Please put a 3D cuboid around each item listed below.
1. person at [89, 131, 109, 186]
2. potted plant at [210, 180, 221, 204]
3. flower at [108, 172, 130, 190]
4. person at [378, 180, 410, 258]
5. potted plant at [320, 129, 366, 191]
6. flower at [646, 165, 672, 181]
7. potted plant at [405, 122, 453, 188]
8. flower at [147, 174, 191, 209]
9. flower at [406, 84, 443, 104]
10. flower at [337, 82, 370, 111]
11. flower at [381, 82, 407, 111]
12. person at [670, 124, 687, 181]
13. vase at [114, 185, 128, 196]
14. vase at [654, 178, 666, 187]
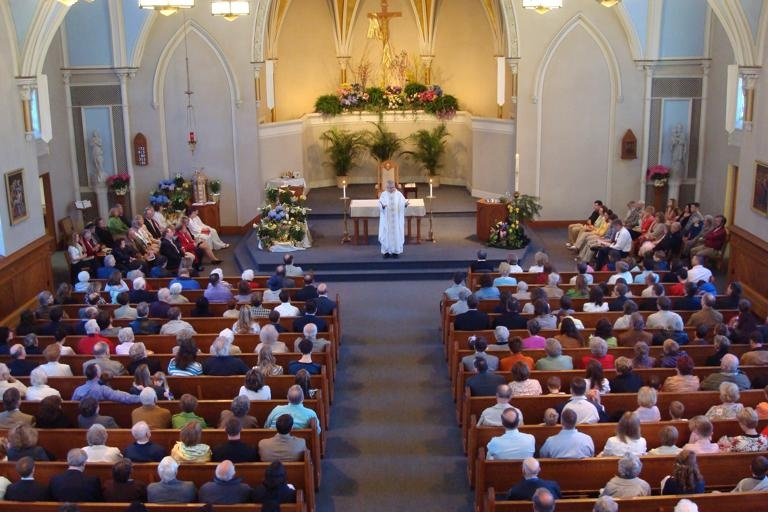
[{"bbox_3d":[-7.777,-2.598,18.937,0.378,1.512,0.237,-5,10,-20],"label":"person"},{"bbox_3d":[-4.679,-1.787,19.448,0.345,0.619,0.333,-6,10,-26],"label":"potted plant"},{"bbox_3d":[-7.241,-2.009,18.982,0.599,0.431,0.426,-5,10,-20],"label":"flower"},{"bbox_3d":[0.245,-0.861,16.573,0.668,1.798,0.497,-2,9,-3],"label":"person"},{"bbox_3d":[-1.326,-3.376,23.207,1.476,1.689,0.954,-5,10,-20],"label":"potted plant"},{"bbox_3d":[7.520,-2.269,18.797,0.445,0.433,0.456,12,19,42],"label":"flower"},{"bbox_3d":[1.566,-3.404,23.204,1.357,1.925,0.897,0,9,13],"label":"potted plant"},{"bbox_3d":[-5.643,-1.640,18.697,0.945,1.158,0.987,4,26,-5],"label":"flower"},{"bbox_3d":[1.342,-5.295,22.838,1.238,0.718,0.562,-2,9,-1],"label":"flower"},{"bbox_3d":[-0.982,-5.359,22.844,0.897,0.969,0.517,0,-13,-8],"label":"flower"},{"bbox_3d":[0.401,-5.215,23.165,0.719,0.521,0.753,-2,37,-1],"label":"flower"},{"bbox_3d":[8.038,-2.750,18.760,0.404,1.473,0.266,-7,10,-28],"label":"person"},{"bbox_3d":[-7.135,-1.752,18.927,0.233,0.179,0.259,5,6,32],"label":"vase"},{"bbox_3d":[7.525,-1.952,18.814,0.207,0.186,0.215,1,12,3],"label":"vase"}]
